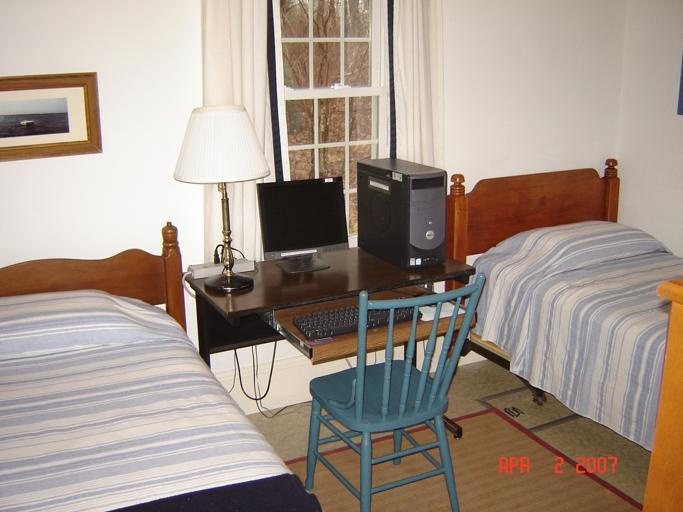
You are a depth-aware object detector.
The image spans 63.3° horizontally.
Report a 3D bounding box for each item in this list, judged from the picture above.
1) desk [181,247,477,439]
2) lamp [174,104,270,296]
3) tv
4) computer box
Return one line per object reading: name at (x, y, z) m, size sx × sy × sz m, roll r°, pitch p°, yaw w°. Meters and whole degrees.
desk at (-0.217, 0.179, 2.730) m, size 1.082 × 0.749 × 0.547 m, roll -8°, pitch 21°, yaw -23°
lamp at (-0.567, -0.300, 2.686) m, size 0.379 × 0.774 × 0.394 m, roll 16°, pitch 31°, yaw 22°
tv at (-0.208, -0.159, 2.845) m, size 0.444 × 0.431 × 0.157 m, roll -7°, pitch 13°, yaw -24°
computer box at (0.313, -0.248, 3.004) m, size 0.298 × 0.501 × 0.499 m, roll -12°, pitch 21°, yaw -32°
